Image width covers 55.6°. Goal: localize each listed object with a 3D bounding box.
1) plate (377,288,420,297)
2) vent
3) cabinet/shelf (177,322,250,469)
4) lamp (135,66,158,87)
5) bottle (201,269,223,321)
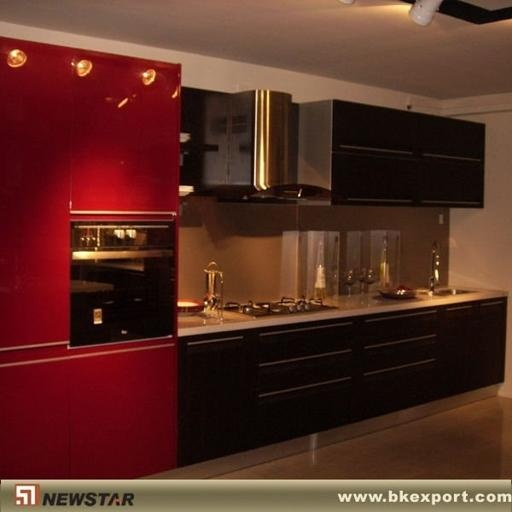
[{"bbox_3d":[1.229,0.313,4.175,0.297,0.116,0.219,-2,-10,19],"label":"plate"},{"bbox_3d":[0.061,-0.837,3.570,0.636,0.708,0.822,6,11,27],"label":"vent"},{"bbox_3d":[-0.252,0.855,2.945,0.472,0.776,0.188,4,-10,-15],"label":"cabinet/shelf"},{"bbox_3d":[-0.595,-0.991,2.682,0.089,0.092,0.038,-32,25,-18],"label":"lamp"},{"bbox_3d":[-0.298,0.251,3.366,0.136,0.389,0.508,2,-10,-5],"label":"bottle"}]
